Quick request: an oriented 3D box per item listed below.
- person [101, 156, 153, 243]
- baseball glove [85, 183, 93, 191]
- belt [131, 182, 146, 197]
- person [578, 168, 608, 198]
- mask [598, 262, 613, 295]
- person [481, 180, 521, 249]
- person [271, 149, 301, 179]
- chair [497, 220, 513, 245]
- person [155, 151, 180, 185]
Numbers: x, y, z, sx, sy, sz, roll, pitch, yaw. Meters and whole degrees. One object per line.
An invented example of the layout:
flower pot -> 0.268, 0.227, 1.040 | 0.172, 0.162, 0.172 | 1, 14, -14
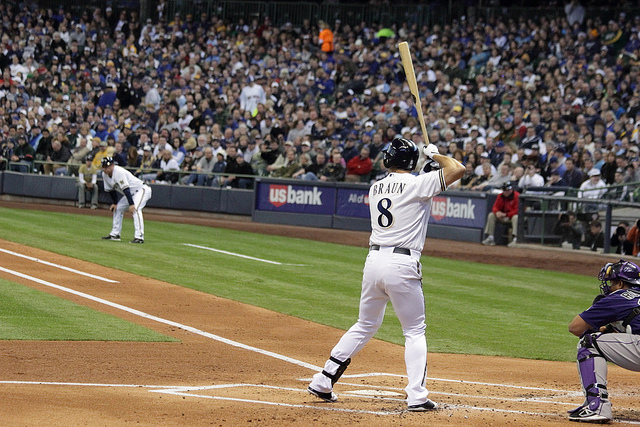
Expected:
person -> -5.268, -0.366, 28.005 | 1.302, 2.272, 0.949 | 3, 2, -10
baseball glove -> -7.897, -0.892, 35.483 | 0.240, 0.227, 0.694 | 3, 1, -14
belt -> -4.919, -0.658, 28.146 | 0.150, 0.352, 0.506 | 5, 2, 22
person -> 7.611, -0.844, 29.051 | 0.504, 0.623, 0.983 | 3, 2, -22
mask -> 5.343, 1.236, 19.543 | 0.425, 0.487, 0.385 | 4, -1, 8
person -> 5.290, 0.039, 30.036 | 0.432, 1.356, 1.025 | 2, 3, -43
person -> -1.116, -1.573, 33.542 | 0.971, 0.945, 0.639 | -10, 25, -28
chair -> 5.417, 0.570, 30.145 | 0.615, 0.758, 0.625 | 0, 1, 31
person -> -5.192, -1.509, 34.765 | 0.827, 1.262, 0.940 | 6, 13, 18
